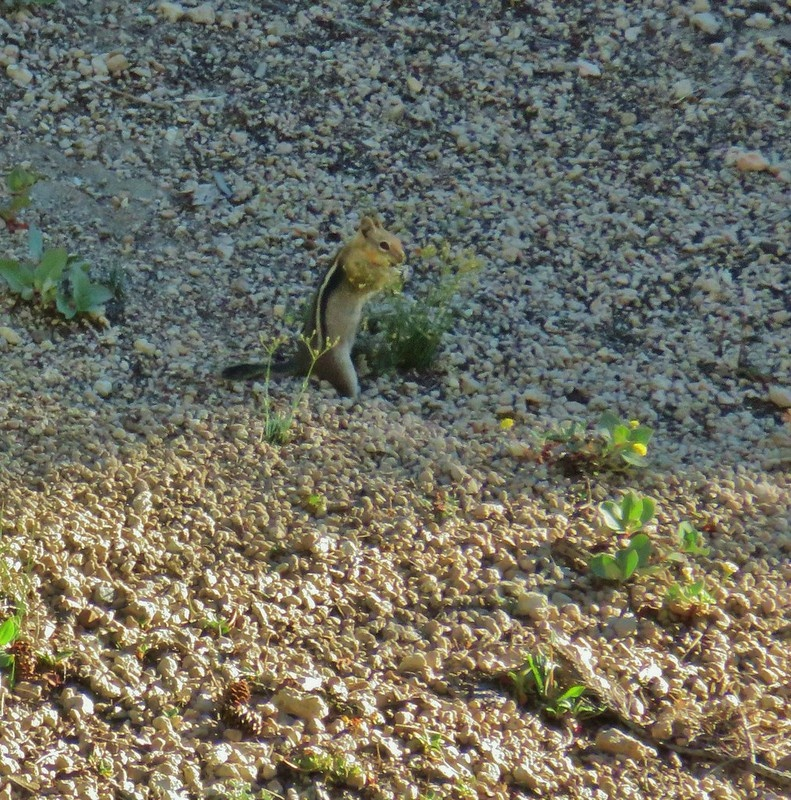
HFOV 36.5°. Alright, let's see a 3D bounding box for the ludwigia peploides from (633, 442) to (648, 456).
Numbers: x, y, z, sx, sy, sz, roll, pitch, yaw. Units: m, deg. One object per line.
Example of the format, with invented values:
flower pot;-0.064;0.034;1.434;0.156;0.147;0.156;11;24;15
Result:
ludwigia peploides;1.086;0.226;5.325;0.059;0.054;0.059;8;45;3
